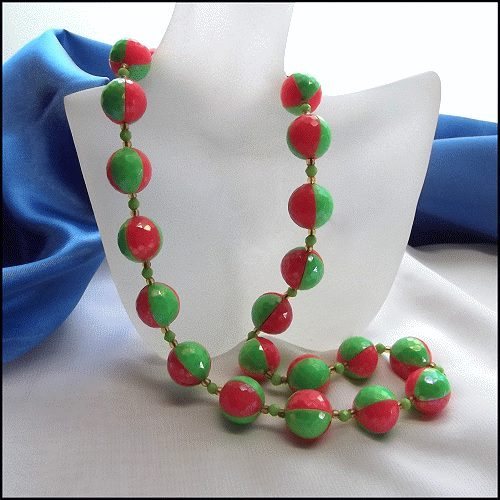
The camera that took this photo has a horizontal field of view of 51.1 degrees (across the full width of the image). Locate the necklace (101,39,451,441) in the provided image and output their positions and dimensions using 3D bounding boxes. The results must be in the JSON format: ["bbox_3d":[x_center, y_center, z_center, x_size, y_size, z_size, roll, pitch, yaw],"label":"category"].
[{"bbox_3d":[0.018,-0.007,0.815,0.422,0.625,0.243,-3,7,-11],"label":"necklace"}]
